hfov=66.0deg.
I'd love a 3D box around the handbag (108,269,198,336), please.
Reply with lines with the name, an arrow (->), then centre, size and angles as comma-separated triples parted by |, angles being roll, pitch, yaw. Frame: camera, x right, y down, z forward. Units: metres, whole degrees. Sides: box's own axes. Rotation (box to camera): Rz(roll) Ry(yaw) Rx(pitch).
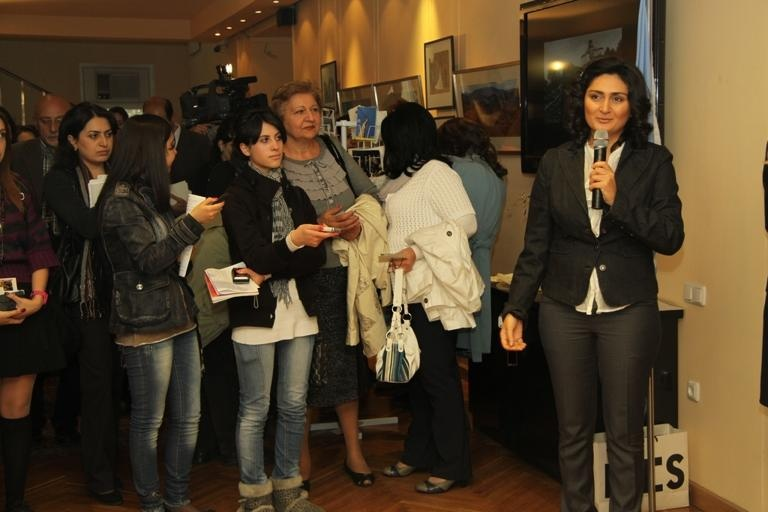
handbag -> -1.337, 0.204, 3.439 | 0.397, 0.326, 0.373 | 1, 5, 12

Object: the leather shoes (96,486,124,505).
leather shoes -> -1.828, 1.596, 3.954 | 0.181, 0.085, 0.085 | -1, 0, 21

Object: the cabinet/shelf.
cabinet/shelf -> 1.182, 0.743, 3.535 | 0.486, 0.930, 1.398 | -3, 6, -23

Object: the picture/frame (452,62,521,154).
picture/frame -> 0.959, -1.361, 5.368 | 0.070, 1.091, 1.059 | -8, 9, -31

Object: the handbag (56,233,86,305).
handbag -> -1.978, 0.073, 3.756 | 0.130, 0.379, 0.283 | 2, 0, -13

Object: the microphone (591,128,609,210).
microphone -> 1.080, -0.438, 2.971 | 0.070, 0.395, 0.221 | 2, 9, 19

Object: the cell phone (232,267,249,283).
cell phone -> -0.801, 0.103, 3.303 | 0.094, 0.086, 0.076 | -3, 9, -15

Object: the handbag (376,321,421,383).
handbag -> 0.091, 0.608, 3.830 | 0.299, 0.385, 0.183 | -2, 8, -10

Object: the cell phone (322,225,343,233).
cell phone -> -0.308, -0.153, 3.309 | 0.079, 0.030, 0.050 | 6, -3, 23
